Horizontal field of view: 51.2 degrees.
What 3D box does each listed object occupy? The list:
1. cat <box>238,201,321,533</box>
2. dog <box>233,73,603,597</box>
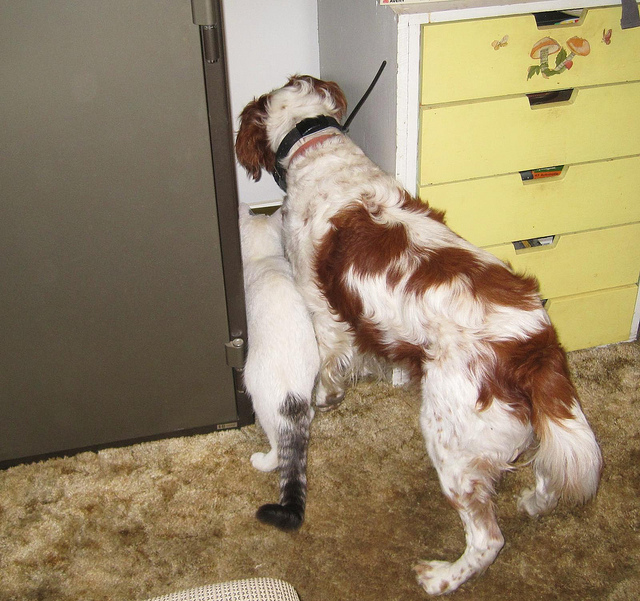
[{"bbox_3d":[-0.112,0.217,1.929,0.185,0.399,0.872,-7,74,-2],"label":"cat"},{"bbox_3d":[0.278,0.102,1.905,0.397,0.774,1.198,-22,57,-19],"label":"dog"}]
